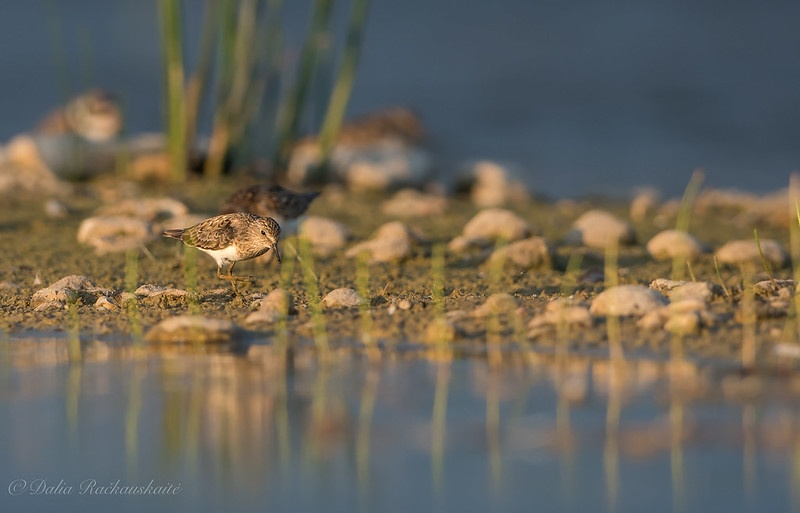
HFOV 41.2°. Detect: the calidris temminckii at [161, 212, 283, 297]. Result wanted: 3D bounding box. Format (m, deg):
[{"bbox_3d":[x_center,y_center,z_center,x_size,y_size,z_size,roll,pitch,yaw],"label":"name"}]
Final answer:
[{"bbox_3d":[-1.531,-0.102,9.158,1.273,0.617,0.427,14,15,29],"label":"calidris temminckii"}]
